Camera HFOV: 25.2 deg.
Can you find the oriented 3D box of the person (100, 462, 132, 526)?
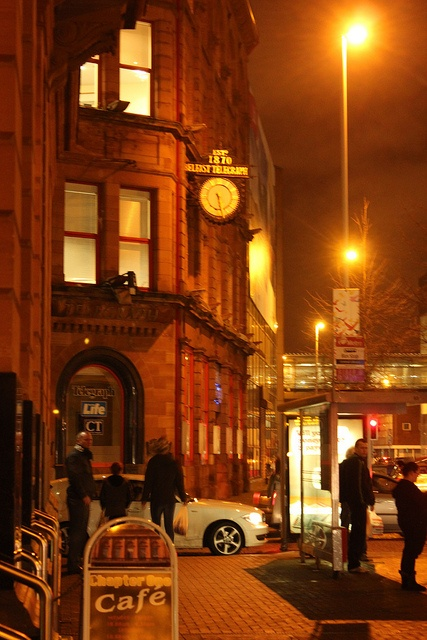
[{"bbox_3d":[-1.346,2.351,13.006,0.404,0.742,0.756,1,-10,-6],"label":"person"}]

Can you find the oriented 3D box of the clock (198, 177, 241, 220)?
[{"bbox_3d":[0.165,-3.370,26.230,1.272,1.405,0.142,-2,-14,3],"label":"clock"}]

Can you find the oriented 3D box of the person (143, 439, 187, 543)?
[{"bbox_3d":[-0.725,2.515,14.096,0.639,1.503,0.687,1,-10,-3],"label":"person"}]

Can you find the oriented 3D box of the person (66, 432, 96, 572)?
[{"bbox_3d":[-1.740,2.406,12.387,0.382,1.852,0.726,2,-10,-8],"label":"person"}]

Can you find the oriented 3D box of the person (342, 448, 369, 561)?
[{"bbox_3d":[2.048,2.672,13.755,0.470,1.856,0.981,-1,-10,7],"label":"person"}]
